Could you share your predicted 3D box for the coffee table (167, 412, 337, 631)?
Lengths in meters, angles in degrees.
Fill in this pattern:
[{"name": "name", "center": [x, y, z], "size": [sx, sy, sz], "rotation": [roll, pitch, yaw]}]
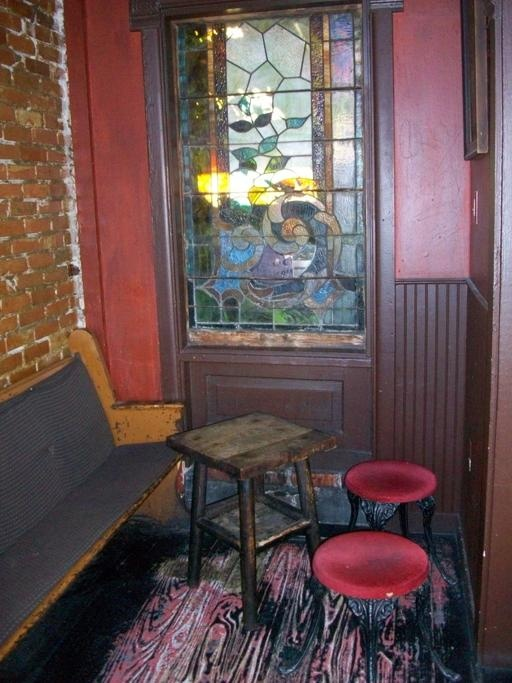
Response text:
[{"name": "coffee table", "center": [0.129, 0.520, 2.104], "size": [0.621, 0.861, 0.612], "rotation": [-9, 10, -38]}]
